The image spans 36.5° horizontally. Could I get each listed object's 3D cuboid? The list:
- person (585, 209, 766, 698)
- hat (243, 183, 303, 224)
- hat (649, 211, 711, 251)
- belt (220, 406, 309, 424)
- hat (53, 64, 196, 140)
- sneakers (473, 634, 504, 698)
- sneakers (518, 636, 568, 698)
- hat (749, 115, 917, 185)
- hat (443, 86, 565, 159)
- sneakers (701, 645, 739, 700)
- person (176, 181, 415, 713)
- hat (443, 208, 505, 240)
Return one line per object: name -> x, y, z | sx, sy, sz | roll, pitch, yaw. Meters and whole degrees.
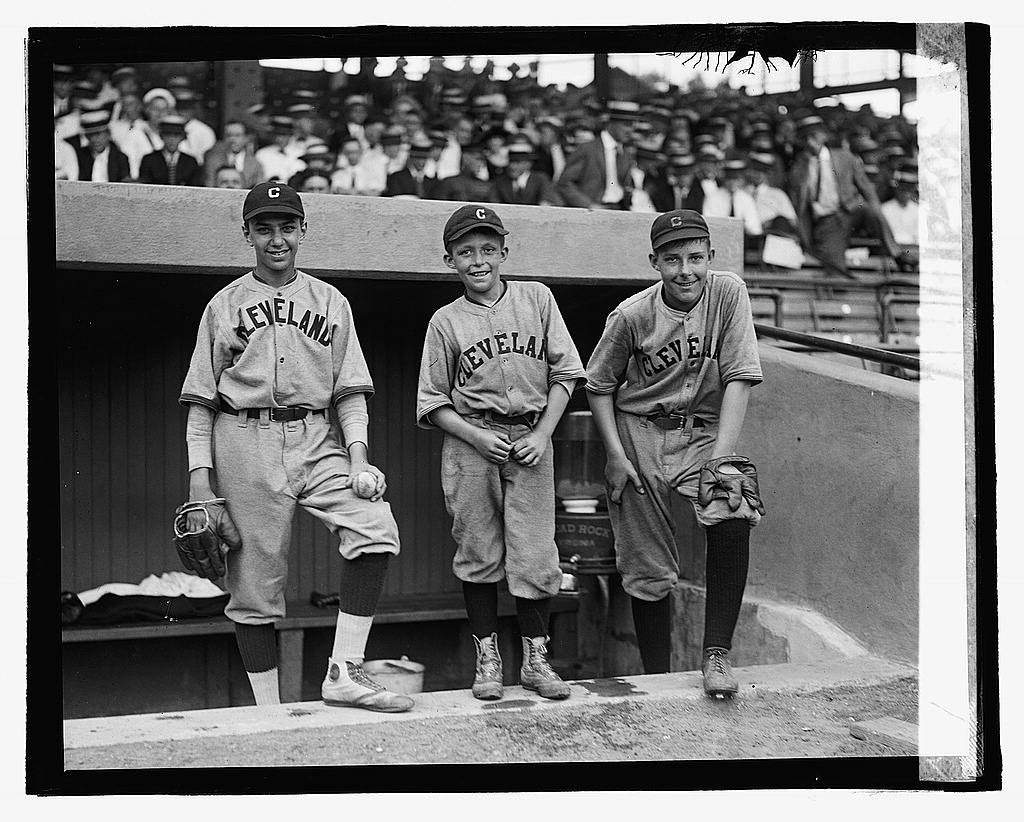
person -> 0.833, 0.170, 7.403 | 0.554, 2.227, 0.936 | -5, 7, -40
hat -> -1.085, -0.954, 7.123 | 0.263, 0.192, 0.195 | -1, 6, -11
hat -> 0.788, -0.844, 7.288 | 0.251, 0.188, 0.192 | 1, 6, 14
belt -> -1.104, 0.022, 7.095 | 0.310, 0.070, 0.032 | -1, 5, -5
hat -> -2.561, -1.949, 9.757 | 0.714, 0.489, 0.397 | -5, 7, -39
sneakers -> -0.105, 1.174, 7.195 | 0.133, 0.240, 0.372 | -6, 13, 8
sneakers -> 0.157, 1.192, 7.187 | 0.111, 0.240, 0.348 | 0, 6, -30
hat -> 2.445, -2.006, 11.511 | 1.002, 0.342, 0.723 | -2, 21, -5
hat -> -0.125, -2.046, 10.602 | 0.500, 0.648, 0.284 | -17, -1, -14
sneakers -> 0.950, 1.201, 7.090 | 0.159, 0.233, 0.185 | 0, 5, 8
person -> -1.016, 0.145, 7.102 | 0.985, 2.376, 0.597 | -1, 5, -4
hat -> -0.167, -0.868, 7.210 | 0.273, 0.168, 0.144 | -1, 5, -3
